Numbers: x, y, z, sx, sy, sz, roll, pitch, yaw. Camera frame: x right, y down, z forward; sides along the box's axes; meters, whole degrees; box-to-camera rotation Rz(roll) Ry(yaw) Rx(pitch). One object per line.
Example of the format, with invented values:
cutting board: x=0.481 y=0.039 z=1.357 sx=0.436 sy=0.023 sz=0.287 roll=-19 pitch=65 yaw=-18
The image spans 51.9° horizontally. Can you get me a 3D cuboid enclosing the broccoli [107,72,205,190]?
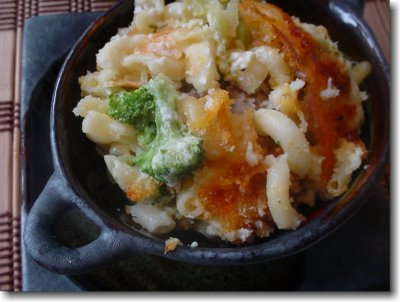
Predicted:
broccoli: x=-0.140 y=-0.079 z=1.445 sx=0.287 sy=0.112 sz=0.416 roll=-26 pitch=77 yaw=13
